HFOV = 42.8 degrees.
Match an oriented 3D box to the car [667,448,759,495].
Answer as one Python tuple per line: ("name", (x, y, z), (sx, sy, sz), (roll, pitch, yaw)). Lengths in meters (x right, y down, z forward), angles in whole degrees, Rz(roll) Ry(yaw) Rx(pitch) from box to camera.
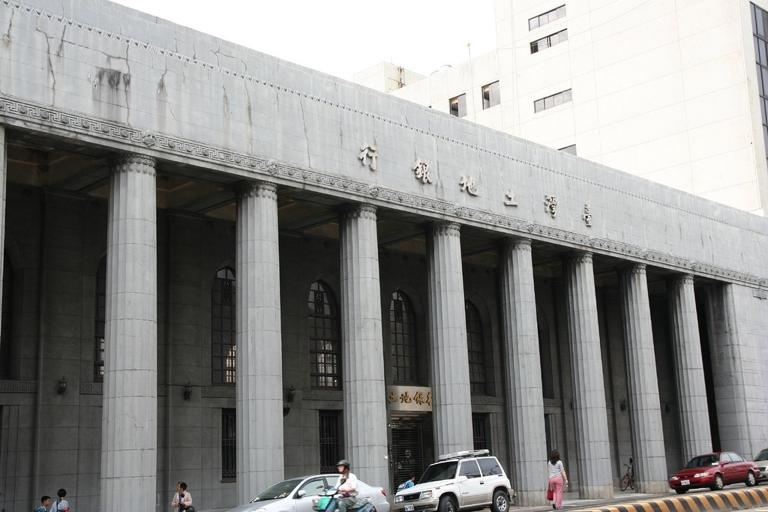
("car", (16.532, 10.774, 49.086), (4.466, 1.888, 1.816), (5, -22, -29))

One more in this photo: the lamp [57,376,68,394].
("lamp", (-13.602, 5.463, 41.413), (0.423, 0.709, 0.315), (0, -21, -18))
